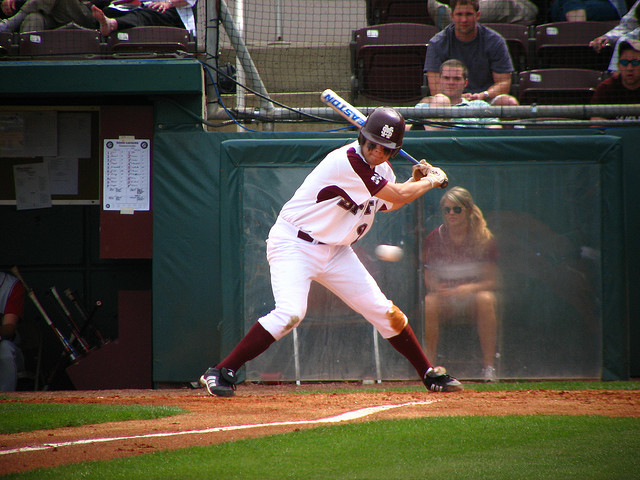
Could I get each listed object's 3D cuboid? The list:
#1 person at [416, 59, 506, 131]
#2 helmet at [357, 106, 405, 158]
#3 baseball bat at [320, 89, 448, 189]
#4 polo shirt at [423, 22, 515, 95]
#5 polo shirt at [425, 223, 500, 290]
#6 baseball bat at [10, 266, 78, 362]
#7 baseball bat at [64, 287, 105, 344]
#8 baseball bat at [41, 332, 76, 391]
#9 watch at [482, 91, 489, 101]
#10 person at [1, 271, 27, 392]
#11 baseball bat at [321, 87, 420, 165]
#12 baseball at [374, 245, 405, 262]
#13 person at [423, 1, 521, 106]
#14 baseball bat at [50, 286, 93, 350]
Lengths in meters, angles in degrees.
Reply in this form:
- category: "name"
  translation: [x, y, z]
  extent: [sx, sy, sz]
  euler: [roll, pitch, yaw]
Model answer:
- category: "person"
  translation: [1.243, -1.154, 9.745]
  extent: [0.553, 0.765, 0.755]
  euler: [-3, -12, -2]
- category: "helmet"
  translation: [0.471, -0.787, 8.139]
  extent: [0.350, 0.317, 0.528]
  euler: [19, 7, 3]
- category: "baseball bat"
  translation: [0.513, -0.756, 8.732]
  extent: [1.374, 0.159, 0.152]
  euler: [40, -3, 18]
- category: "polo shirt"
  translation: [1.386, -1.613, 10.116]
  extent: [0.793, 0.668, 0.370]
  euler: [0, 17, 25]
- category: "polo shirt"
  translation: [1.130, 0.106, 9.243]
  extent: [0.648, 0.531, 0.358]
  euler: [-2, 8, -5]
- category: "baseball bat"
  translation: [-2.437, 0.684, 9.856]
  extent: [0.121, 0.933, 0.126]
  euler: [-37, -3, 18]
- category: "baseball bat"
  translation: [-2.101, 0.689, 9.963]
  extent: [0.103, 0.507, 0.086]
  euler: [-26, -10, -48]
- category: "baseball bat"
  translation: [-2.270, 1.071, 9.768]
  extent: [0.068, 0.538, 0.069]
  euler: [30, -13, -4]
- category: "watch"
  translation: [1.473, -1.266, 9.965]
  extent: [0.066, 0.052, 0.067]
  euler: [-9, 26, -17]
- category: "person"
  translation: [-2.577, 0.765, 9.385]
  extent: [0.196, 0.911, 0.578]
  euler: [-2, 1, -15]
- category: "baseball bat"
  translation: [0.407, -0.878, 8.846]
  extent: [1.117, 0.135, 0.125]
  euler: [43, -11, 23]
- category: "baseball"
  translation: [0.570, 0.109, 9.111]
  extent: [0.171, 0.086, 0.132]
  euler: [4, 2, -2]
- category: "person"
  translation: [1.375, -1.653, 10.286]
  extent: [0.946, 1.163, 0.915]
  euler: [-6, 16, 2]
- category: "baseball bat"
  translation: [-2.213, 0.714, 9.945]
  extent: [0.099, 0.612, 0.108]
  euler: [-42, -13, 27]
